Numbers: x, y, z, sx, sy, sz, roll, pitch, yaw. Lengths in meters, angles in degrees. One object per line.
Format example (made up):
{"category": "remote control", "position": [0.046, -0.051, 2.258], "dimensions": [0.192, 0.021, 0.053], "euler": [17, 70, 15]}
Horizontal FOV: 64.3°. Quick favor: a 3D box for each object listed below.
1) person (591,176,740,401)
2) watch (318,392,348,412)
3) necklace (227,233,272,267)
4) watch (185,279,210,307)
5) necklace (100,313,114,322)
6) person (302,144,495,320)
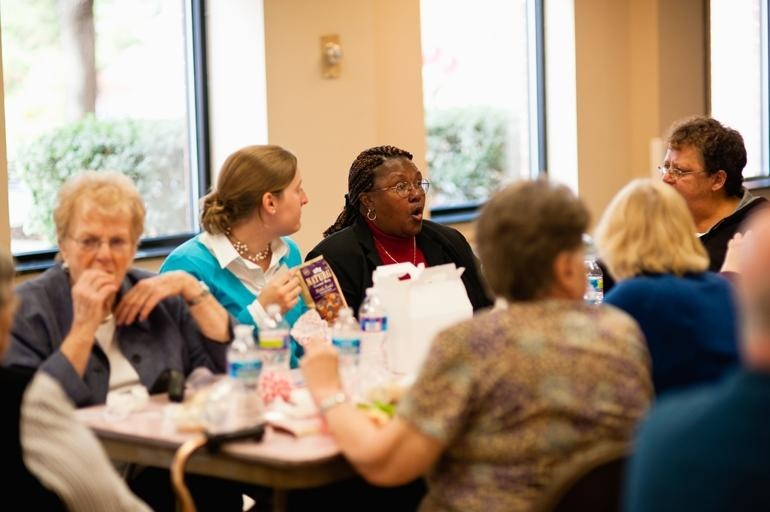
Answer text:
{"category": "person", "position": [0.937, 0.136, 2.141], "dimensions": [0.560, 0.778, 0.473], "euler": [-8, 4, -25]}
{"category": "watch", "position": [-0.153, 0.404, 1.717], "dimensions": [0.071, 0.042, 0.069], "euler": [-15, -19, -44]}
{"category": "necklace", "position": [-0.603, -0.024, 2.736], "dimensions": [0.122, 0.157, 0.048], "euler": [-46, 4, -40]}
{"category": "watch", "position": [-0.714, 0.143, 2.344], "dimensions": [0.027, 0.090, 0.091], "euler": [14, -10, -41]}
{"category": "necklace", "position": [-1.000, 0.223, 2.211], "dimensions": [0.022, 0.029, 0.023], "euler": [8, -20, -34]}
{"category": "person", "position": [0.072, -0.032, 3.076], "dimensions": [1.094, 0.985, 0.646], "euler": [-6, 5, -38]}
